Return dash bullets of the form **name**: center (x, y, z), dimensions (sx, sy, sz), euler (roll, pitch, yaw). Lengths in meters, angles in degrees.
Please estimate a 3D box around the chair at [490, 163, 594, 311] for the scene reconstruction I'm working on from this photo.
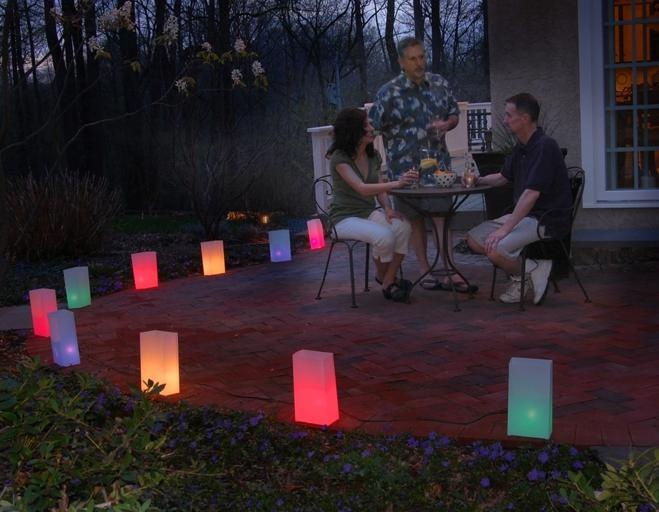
- **chair**: center (2.234, -0.203, 5.226), dimensions (0.683, 1.101, 0.649), euler (-23, -8, 35)

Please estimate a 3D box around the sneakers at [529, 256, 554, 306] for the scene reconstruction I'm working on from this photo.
- **sneakers**: center (1.908, 0.222, 4.818), dimensions (0.169, 0.420, 0.143), euler (0, 20, 6)

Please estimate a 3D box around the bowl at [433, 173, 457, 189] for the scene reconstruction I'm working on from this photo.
- **bowl**: center (1.060, -0.676, 4.864), dimensions (0.143, 0.102, 0.148), euler (-2, 5, 0)

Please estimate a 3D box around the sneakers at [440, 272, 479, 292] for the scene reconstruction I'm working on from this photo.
- **sneakers**: center (1.234, 0.269, 5.223), dimensions (0.407, 0.152, 0.168), euler (5, 10, 39)
